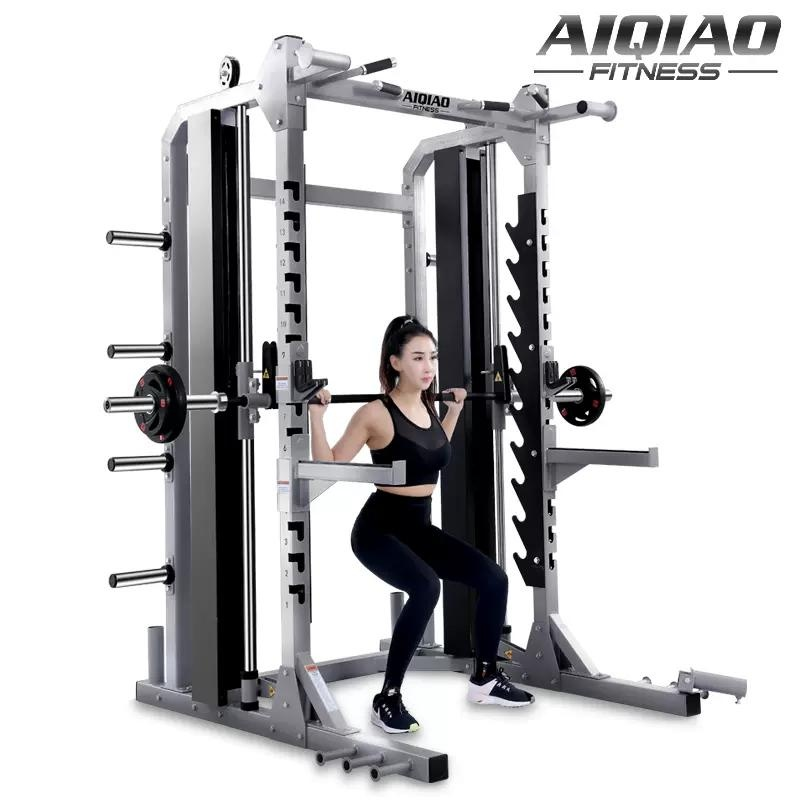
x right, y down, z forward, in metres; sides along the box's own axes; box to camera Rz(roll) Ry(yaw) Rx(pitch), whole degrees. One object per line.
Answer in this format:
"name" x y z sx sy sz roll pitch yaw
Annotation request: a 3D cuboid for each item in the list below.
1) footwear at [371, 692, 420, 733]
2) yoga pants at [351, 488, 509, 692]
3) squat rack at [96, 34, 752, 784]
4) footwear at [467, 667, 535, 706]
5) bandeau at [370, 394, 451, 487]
"footwear" -0.023 1.129 3.643 0.087 0.124 0.230 -2 0 -28
"yoga pants" 0.109 0.706 3.869 0.575 0.714 0.428 3 -4 -42
"squat rack" -0.212 -0.025 4.126 1.707 2.657 2.010 -3 -1 36
"footwear" 0.424 1.139 4.016 0.284 0.180 0.115 1 1 8
"bandeau" 0.041 0.154 3.963 0.290 0.436 0.298 -7 -10 19
